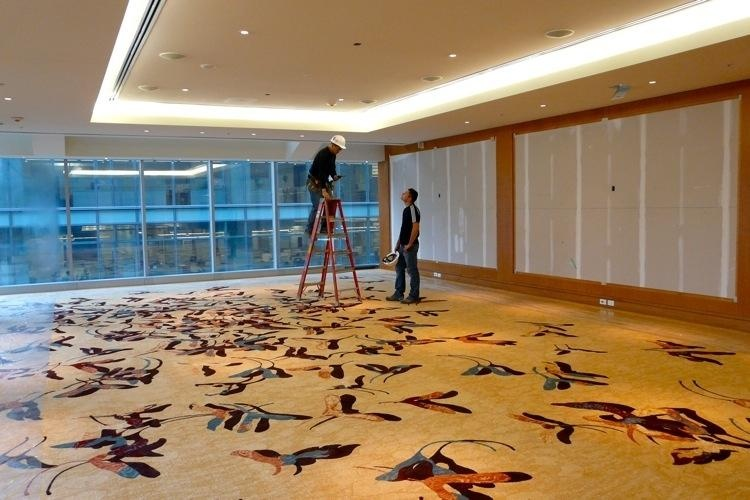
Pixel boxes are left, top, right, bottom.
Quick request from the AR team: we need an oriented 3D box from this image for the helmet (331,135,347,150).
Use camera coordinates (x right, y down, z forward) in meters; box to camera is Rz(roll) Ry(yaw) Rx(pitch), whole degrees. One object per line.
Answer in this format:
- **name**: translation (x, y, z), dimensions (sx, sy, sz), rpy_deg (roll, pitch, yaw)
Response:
- **helmet**: translation (-0.684, -1.892, 8.376), dimensions (0.210, 0.214, 0.197), rpy_deg (-4, 11, -15)

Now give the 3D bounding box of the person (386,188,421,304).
- **person**: translation (0.511, -0.068, 8.686), dimensions (0.568, 2.055, 0.799), rpy_deg (-1, 11, 2)

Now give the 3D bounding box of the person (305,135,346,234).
- **person**: translation (-1.002, -1.143, 8.566), dimensions (0.792, 1.746, 0.511), rpy_deg (7, 14, 39)

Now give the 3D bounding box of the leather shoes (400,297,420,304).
- **leather shoes**: translation (0.610, 0.914, 8.637), dimensions (0.374, 0.110, 0.121), rpy_deg (4, -8, -12)
